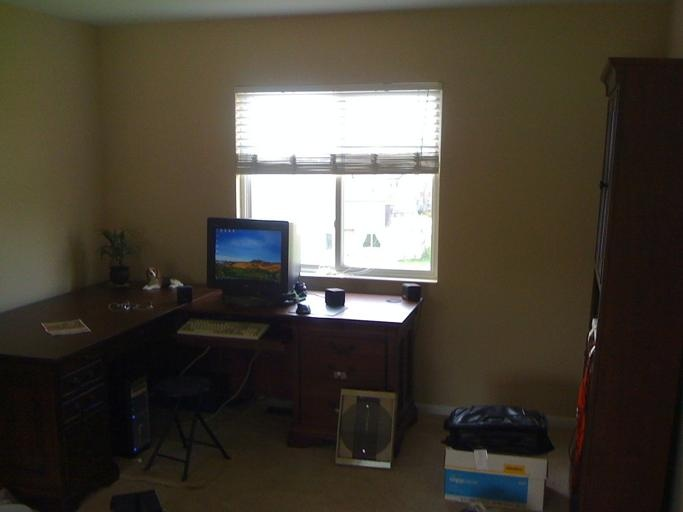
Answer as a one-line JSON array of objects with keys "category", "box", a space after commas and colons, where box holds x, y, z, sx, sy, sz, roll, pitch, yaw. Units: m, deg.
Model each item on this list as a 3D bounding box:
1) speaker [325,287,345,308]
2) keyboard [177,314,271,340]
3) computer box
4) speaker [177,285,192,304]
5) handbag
[{"category": "speaker", "box": [-0.042, 0.298, 4.083, 0.118, 0.135, 0.118, 1, -2, -38]}, {"category": "keyboard", "box": [-0.777, 0.493, 3.911, 0.370, 0.060, 0.154, 2, 30, 13]}, {"category": "computer box", "box": [-1.359, 1.023, 3.796, 0.230, 0.543, 0.154, -6, 15, -25]}, {"category": "speaker", "box": [-1.085, 0.270, 4.088, 0.102, 0.113, 0.108, -2, 5, -4]}, {"category": "handbag", "box": [0.940, 1.033, 3.520, 0.424, 0.158, 0.362, 2, 4, 12]}]
